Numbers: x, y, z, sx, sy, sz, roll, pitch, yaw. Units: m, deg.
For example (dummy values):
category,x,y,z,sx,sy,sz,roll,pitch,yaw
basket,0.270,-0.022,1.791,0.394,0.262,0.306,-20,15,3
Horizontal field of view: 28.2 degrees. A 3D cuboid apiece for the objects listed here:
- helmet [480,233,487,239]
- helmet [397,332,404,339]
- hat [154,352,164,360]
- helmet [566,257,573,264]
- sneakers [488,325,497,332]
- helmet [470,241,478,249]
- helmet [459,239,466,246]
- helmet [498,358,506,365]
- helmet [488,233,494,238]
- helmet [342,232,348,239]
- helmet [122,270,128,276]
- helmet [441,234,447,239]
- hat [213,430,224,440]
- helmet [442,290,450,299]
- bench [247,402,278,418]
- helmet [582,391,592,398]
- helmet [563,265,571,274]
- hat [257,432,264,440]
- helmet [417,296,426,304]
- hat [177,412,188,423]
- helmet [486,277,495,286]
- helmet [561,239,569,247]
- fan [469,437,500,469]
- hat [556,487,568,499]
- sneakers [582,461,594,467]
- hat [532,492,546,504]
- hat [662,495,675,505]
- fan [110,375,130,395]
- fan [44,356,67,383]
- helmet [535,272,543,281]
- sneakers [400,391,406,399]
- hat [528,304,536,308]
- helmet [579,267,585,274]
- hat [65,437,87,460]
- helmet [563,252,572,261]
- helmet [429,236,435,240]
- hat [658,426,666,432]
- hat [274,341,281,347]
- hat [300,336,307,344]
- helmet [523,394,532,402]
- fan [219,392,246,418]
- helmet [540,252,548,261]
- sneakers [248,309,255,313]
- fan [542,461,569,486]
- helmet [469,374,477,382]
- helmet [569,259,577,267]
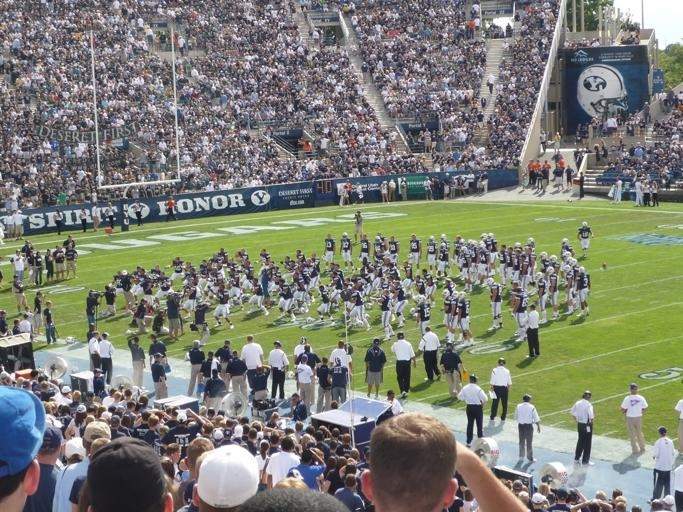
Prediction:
category,x,y,z,sx,sy,sz,roll,pitch,yaw
helmet,5.868,-0.828,56.789,0.241,0.317,0.311,-3,-8,23
helmet,1.943,2.726,45.648,0.174,0.249,0.251,4,11,14
hat,-6.111,3.429,45.884,0.375,0.207,0.292,-3,4,-31
helmet,8.843,0.201,52.896,0.206,0.239,0.162,5,-7,21
sneakers,5.564,2.746,50.546,0.133,0.316,0.429,-1,2,-43
helmet,5.378,-0.464,55.410,0.270,0.283,0.295,-12,14,-17
helmet,5.011,-0.463,56.899,0.288,0.409,0.388,-2,10,10
helmet,5.145,3.418,43.802,0.179,0.249,0.217,25,-20,-29
helmet,6.252,-0.784,57.003,0.196,0.257,0.244,-6,29,-21
helmet,0.132,-0.836,58.741,0.245,0.306,0.289,-1,27,-3
helmet,-8.632,0.689,54.222,0.178,0.265,0.241,7,-6,37
helmet,4.217,-0.807,56.544,0.189,0.253,0.241,1,4,5
hat,-3.499,5.168,38.830,0.302,0.310,0.241,-2,4,-15
helmet,3.805,1.388,49.252,0.267,0.296,0.581,-1,3,4
bench,-2.467,4.889,43.478,0.558,0.760,0.721,1,3,35
helmet,7.632,4.417,42.451,0.164,0.255,0.216,1,42,18
helmet,8.608,0.595,52.092,0.216,0.314,0.293,-25,30,-26
hat,-2.347,5.260,39.283,0.186,0.197,0.057,21,-18,-27
helmet,2.817,1.579,48.203,0.263,0.296,0.214,-2,13,-27
hat,-4.597,4.712,39.220,0.210,0.311,0.254,3,5,-3
helmet,5.983,1.075,55.054,0.244,0.351,0.331,-6,19,-15
helmet,9.195,-0.535,56.205,0.283,0.433,0.326,-8,21,-14
fan,4.288,5.996,40.839,0.716,0.844,0.690,-1,3,11
hat,6.227,6.834,38.641,0.221,0.310,0.292,3,-1,0
sneakers,7.675,6.523,42.186,0.251,0.109,0.181,-4,4,-42
hat,5.564,6.932,38.436,0.417,0.321,0.611,-1,3,13
hat,9.271,7.134,39.043,0.292,0.225,0.409,6,16,-18
fan,-7.108,4.186,44.110,0.702,0.442,0.890,-5,5,-44
fan,-9.637,3.846,45.569,0.726,0.786,0.858,0,4,29
helmet,7.488,0.831,51.451,0.292,0.324,0.242,2,0,-18
sneakers,2.056,4.730,45.653,0.122,0.229,0.161,0,17,10
hat,6.680,1.806,47.766,0.143,0.177,0.238,6,-5,-5
helmet,9.020,0.572,51.397,0.171,0.239,0.222,-2,-4,40
hat,-7.040,5.212,36.052,0.532,0.498,1.098,-2,3,-13
helmet,8.848,0.022,53.546,0.260,0.350,0.323,1,22,16
helmet,3.736,-0.731,56.650,0.188,0.208,0.148,18,-13,-31
hat,9.612,5.329,40.996,0.195,0.171,0.341,3,-20,7
hat,-2.153,3.001,45.459,0.167,0.245,0.234,10,28,19
hat,-1.300,2.898,45.835,0.180,0.260,0.251,5,31,4
helmet,5.784,4.527,42.610,0.192,0.210,0.227,9,23,14
fan,-3.412,4.765,43.136,0.788,0.774,0.595,-2,3,-6
helmet,8.037,0.034,54.358,0.188,0.272,0.264,-8,25,22
sneakers,-3.577,2.243,53.699,0.212,0.115,0.391,-2,3,-5
fan,6.256,6.615,40.199,0.744,0.641,0.690,-3,19,4
helmet,4.167,3.970,43.350,0.223,0.259,0.551,-1,3,2
helmet,8.911,0.270,52.629,0.289,0.310,0.283,-10,10,-12
